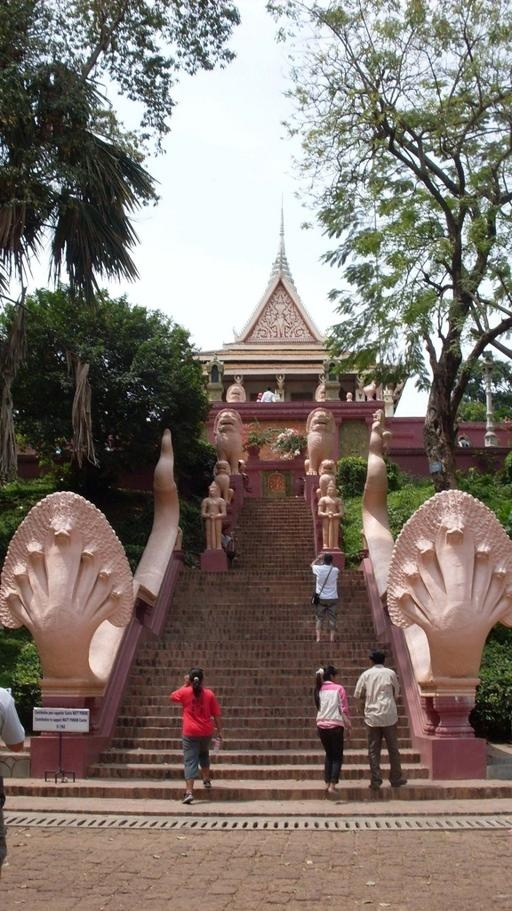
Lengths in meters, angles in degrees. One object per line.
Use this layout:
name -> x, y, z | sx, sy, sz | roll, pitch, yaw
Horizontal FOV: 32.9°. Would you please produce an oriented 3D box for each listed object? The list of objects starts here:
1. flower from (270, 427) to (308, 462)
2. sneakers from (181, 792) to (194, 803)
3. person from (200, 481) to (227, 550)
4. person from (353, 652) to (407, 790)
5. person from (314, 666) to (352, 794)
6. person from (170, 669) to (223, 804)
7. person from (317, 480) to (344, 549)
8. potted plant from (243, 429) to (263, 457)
flower -> 0.847, -0.329, 23.570 | 0.804, 0.873, 0.823 | 3, 12, 8
sneakers -> -0.496, 2.467, 6.226 | 0.046, 0.059, 0.130 | 1, -31, -13
person -> -0.738, 1.028, 14.740 | 0.378, 0.995, 1.335 | 1, 0, -2
person -> 0.955, 2.057, 6.743 | 0.381, 0.855, 0.525 | 1, 0, 9
person -> 0.563, 2.117, 6.654 | 0.236, 0.791, 0.540 | 1, 0, 2
person -> -0.480, 2.111, 6.541 | 0.361, 0.890, 0.682 | 1, 0, 5
person -> 1.154, 0.994, 13.864 | 0.373, 0.888, 0.854 | 1, 0, 5
potted plant -> -0.077, -0.338, 24.503 | 0.621, 0.960, 0.664 | 0, -10, 6
